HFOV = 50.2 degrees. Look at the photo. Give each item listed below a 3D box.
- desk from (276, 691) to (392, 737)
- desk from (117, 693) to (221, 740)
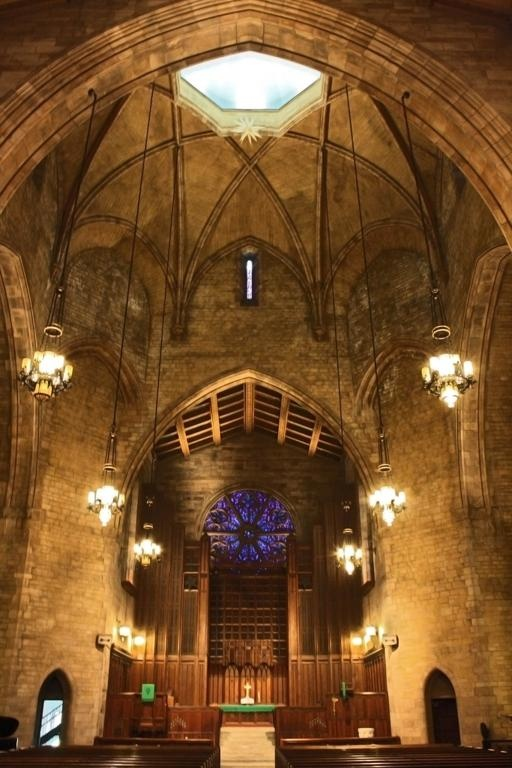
[{"bbox_3d":[1.686,7.406,12.274,2.304,0.868,0.943,5,-25,-9],"label":"desk"},{"bbox_3d":[-1.936,7.130,11.749,2.170,0.809,0.553,0,-24,2],"label":"desk"}]
